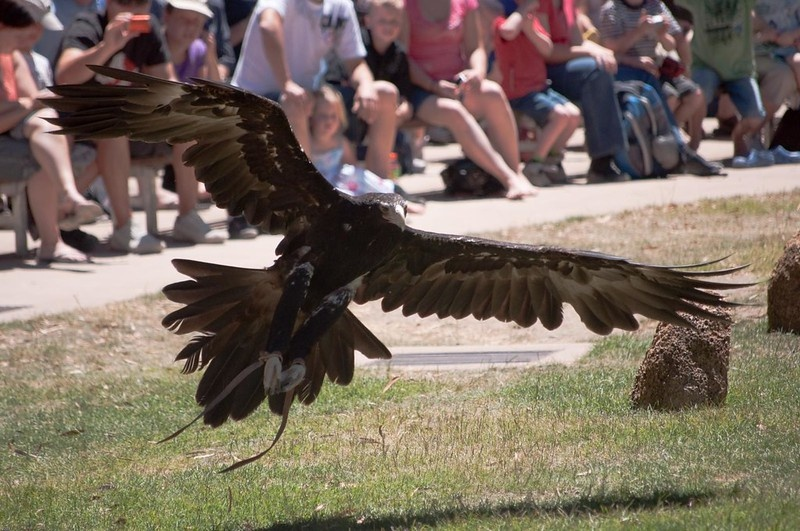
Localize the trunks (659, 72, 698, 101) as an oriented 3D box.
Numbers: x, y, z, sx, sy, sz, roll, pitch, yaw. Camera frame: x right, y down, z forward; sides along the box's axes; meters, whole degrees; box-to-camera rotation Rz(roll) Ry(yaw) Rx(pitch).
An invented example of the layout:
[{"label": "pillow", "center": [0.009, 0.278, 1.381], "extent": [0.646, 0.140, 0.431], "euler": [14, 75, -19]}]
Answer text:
[{"label": "trunks", "center": [3.479, -2.217, 23.310], "extent": [0.389, 0.103, 0.345], "euler": [33, 58, 29]}]

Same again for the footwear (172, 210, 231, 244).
[{"label": "footwear", "center": [-2.153, -0.433, 20.343], "extent": [0.865, 0.350, 0.316], "euler": [2, 17, 43]}]

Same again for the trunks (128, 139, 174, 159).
[{"label": "trunks", "center": [-2.742, -1.256, 20.370], "extent": [0.260, 0.107, 0.339], "euler": [13, 8, 31]}]

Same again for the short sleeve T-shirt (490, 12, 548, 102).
[{"label": "short sleeve T-shirt", "center": [1.498, -2.443, 22.564], "extent": [0.489, 0.810, 0.630], "euler": [0, 4, 38]}]

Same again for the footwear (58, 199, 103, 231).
[{"label": "footwear", "center": [-3.409, -0.504, 19.520], "extent": [0.661, 0.243, 0.201], "euler": [-17, -45, 39]}]

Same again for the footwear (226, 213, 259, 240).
[{"label": "footwear", "center": [-1.764, -0.410, 20.557], "extent": [0.435, 0.378, 0.244], "euler": [-2, -3, 11]}]

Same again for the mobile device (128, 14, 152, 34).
[{"label": "mobile device", "center": [-2.647, -2.458, 19.016], "extent": [0.282, 0.174, 0.195], "euler": [3, 19, 4]}]
